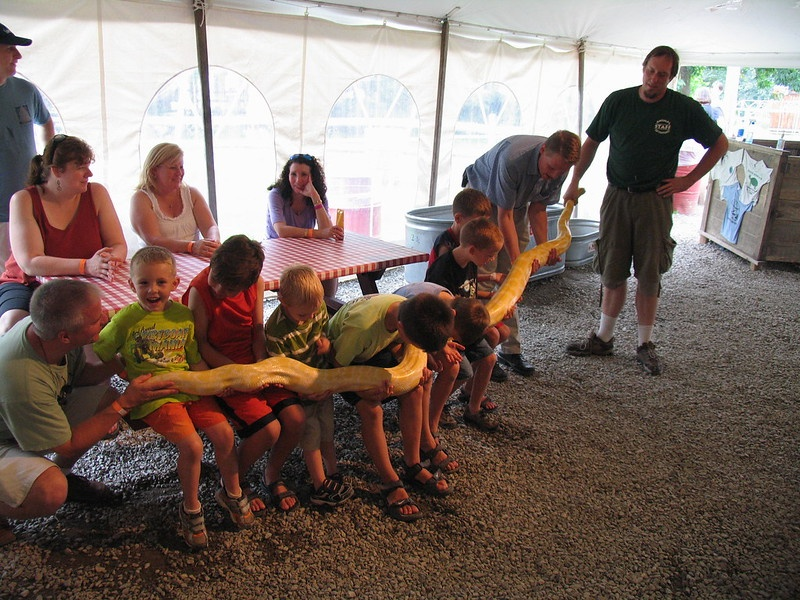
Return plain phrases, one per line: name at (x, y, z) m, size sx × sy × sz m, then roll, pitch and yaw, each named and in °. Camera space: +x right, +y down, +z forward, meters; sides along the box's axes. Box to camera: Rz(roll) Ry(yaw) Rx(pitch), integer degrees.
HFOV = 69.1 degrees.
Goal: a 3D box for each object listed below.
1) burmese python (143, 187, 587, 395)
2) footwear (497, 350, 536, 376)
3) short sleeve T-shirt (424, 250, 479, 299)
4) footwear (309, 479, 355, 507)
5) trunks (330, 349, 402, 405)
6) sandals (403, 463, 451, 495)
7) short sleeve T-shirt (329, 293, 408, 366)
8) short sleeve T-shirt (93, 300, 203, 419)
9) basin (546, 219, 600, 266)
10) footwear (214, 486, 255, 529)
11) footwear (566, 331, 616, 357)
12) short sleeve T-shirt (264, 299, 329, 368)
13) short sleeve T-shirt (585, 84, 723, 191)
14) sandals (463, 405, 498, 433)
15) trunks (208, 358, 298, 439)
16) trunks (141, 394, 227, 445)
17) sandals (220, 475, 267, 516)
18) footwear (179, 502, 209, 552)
burmese python at (0.356, 0.048, 3.812) m, size 3.321 × 0.400 × 0.965 m, roll -23°, pitch 39°, yaw -23°
footwear at (1.048, 0.577, 5.285) m, size 0.359 × 0.154 × 0.133 m, roll 29°, pitch 26°, yaw 19°
short sleeve T-shirt at (0.460, -0.162, 4.285) m, size 0.371 × 0.349 × 0.193 m, roll -24°, pitch 22°, yaw -19°
footwear at (-0.413, 1.192, 3.626) m, size 0.271 × 0.131 × 0.124 m, roll -4°, pitch 26°, yaw 2°
trunks at (-0.208, 0.452, 3.464) m, size 0.425 × 0.096 × 0.232 m, roll -19°, pitch -8°, yaw -28°
sandals at (0.176, 1.163, 3.808) m, size 0.326 × 0.138 × 0.143 m, roll 17°, pitch 23°, yaw 29°
short sleeve T-shirt at (-0.180, 0.200, 3.513) m, size 0.382 × 0.248 × 0.466 m, roll -16°, pitch 10°, yaw 43°
short sleeve T-shirt at (-1.373, 0.320, 3.217) m, size 0.590 × 0.609 × 0.350 m, roll -6°, pitch 13°, yaw -42°
basin at (2.502, -0.772, 8.194) m, size 0.723 × 0.479 × 1.120 m, roll 13°, pitch 28°, yaw 28°
footwear at (-0.968, 1.222, 3.411) m, size 0.266 × 0.121 × 0.095 m, roll 49°, pitch 14°, yaw 2°
footwear at (1.818, 0.420, 5.566) m, size 0.396 × 0.185 × 0.205 m, roll 4°, pitch 6°, yaw 4°
short sleeve T-shirt at (-0.613, 0.214, 3.451) m, size 0.310 × 0.341 × 0.193 m, roll -19°, pitch 62°, yaw -37°
short sleeve T-shirt at (2.247, -1.452, 5.226) m, size 1.150 × 0.901 × 0.501 m, roll 21°, pitch 50°, yaw 38°
sandals at (0.604, 0.908, 4.430) m, size 0.260 × 0.110 × 0.119 m, roll 9°, pitch 17°, yaw 17°
trunks at (-0.818, 0.584, 3.347) m, size 0.262 × 0.166 × 0.420 m, roll 41°, pitch 47°, yaw 23°
trunks at (-1.185, 0.647, 3.210) m, size 0.368 × 0.152 × 0.244 m, roll -25°, pitch 39°, yaw -37°
sandals at (-0.936, 1.170, 3.450) m, size 0.311 × 0.138 × 0.115 m, roll 35°, pitch 20°, yaw 3°
footwear at (-1.156, 1.289, 3.261) m, size 0.109 × 0.134 × 0.295 m, roll -4°, pitch 58°, yaw -45°
